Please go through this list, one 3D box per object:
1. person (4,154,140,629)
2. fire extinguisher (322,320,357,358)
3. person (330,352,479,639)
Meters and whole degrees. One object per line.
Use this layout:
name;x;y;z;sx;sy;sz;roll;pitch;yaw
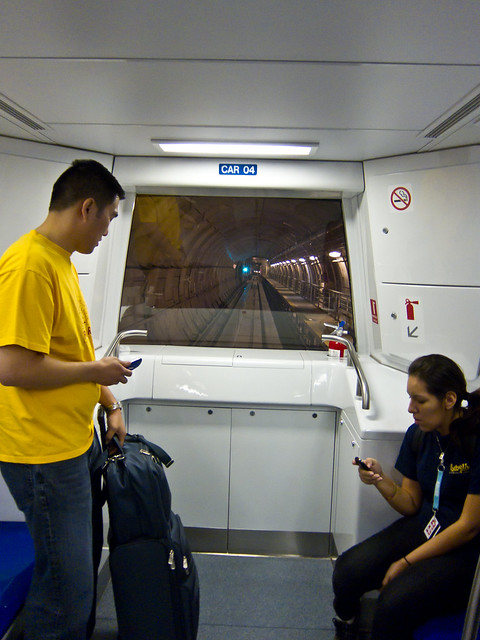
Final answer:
person;-0.683;0.497;1.798;0.447;1.738;1.056;2;-1;-14
fire extinguisher;0.698;0.125;3.088;0.261;0.349;0.247;0;0;4
person;0.700;0.823;1.804;0.466;1.360;0.582;2;-1;-8
